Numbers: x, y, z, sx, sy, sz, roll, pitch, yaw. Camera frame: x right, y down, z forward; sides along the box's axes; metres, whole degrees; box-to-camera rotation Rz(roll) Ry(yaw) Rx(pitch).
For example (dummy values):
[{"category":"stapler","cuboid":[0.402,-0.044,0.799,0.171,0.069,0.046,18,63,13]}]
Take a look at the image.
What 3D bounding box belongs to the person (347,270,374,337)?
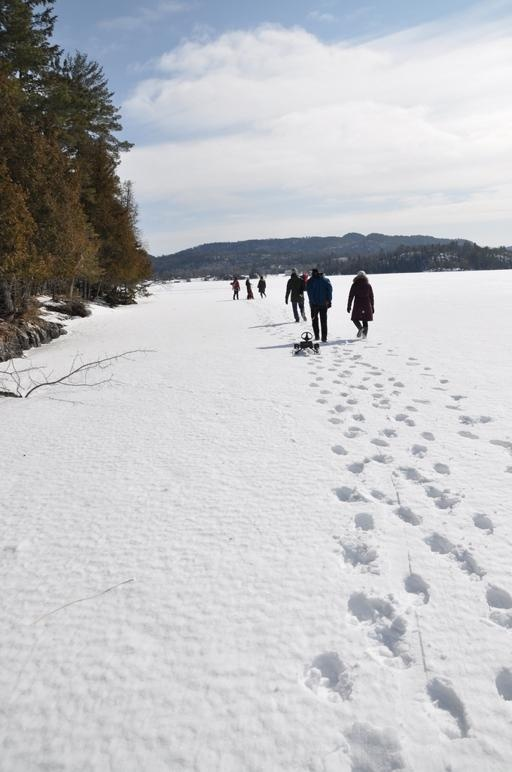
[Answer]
[{"category":"person","cuboid":[2.203,-1.722,12.209,0.497,1.437,2.052,0,14,11]}]
